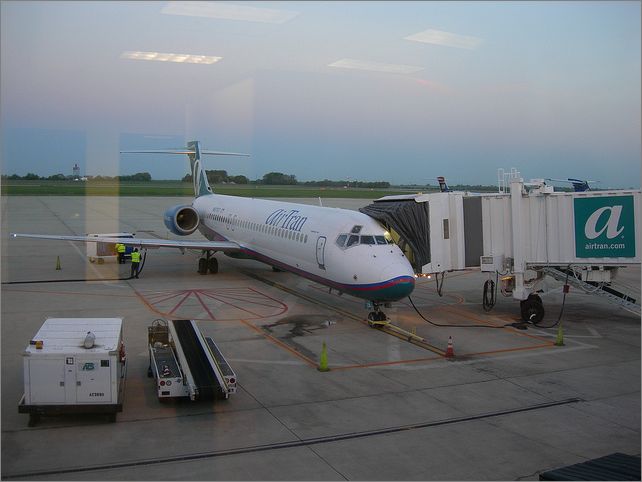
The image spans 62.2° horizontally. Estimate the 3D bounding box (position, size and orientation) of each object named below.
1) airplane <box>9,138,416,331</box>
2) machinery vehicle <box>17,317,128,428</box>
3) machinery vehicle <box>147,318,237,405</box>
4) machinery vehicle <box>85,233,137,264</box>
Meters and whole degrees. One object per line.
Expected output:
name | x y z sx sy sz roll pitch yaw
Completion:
airplane | -3.014 -1.014 26.066 5.672 6.918 19.751 -5 10 -32
machinery vehicle | -5.932 2.945 13.228 2.152 1.307 2.791 1 4 -10
machinery vehicle | -3.511 3.219 14.086 1.611 0.693 2.979 -1 14 -19
machinery vehicle | -13.363 0.403 33.349 3.402 1.775 1.877 -3 7 -18
